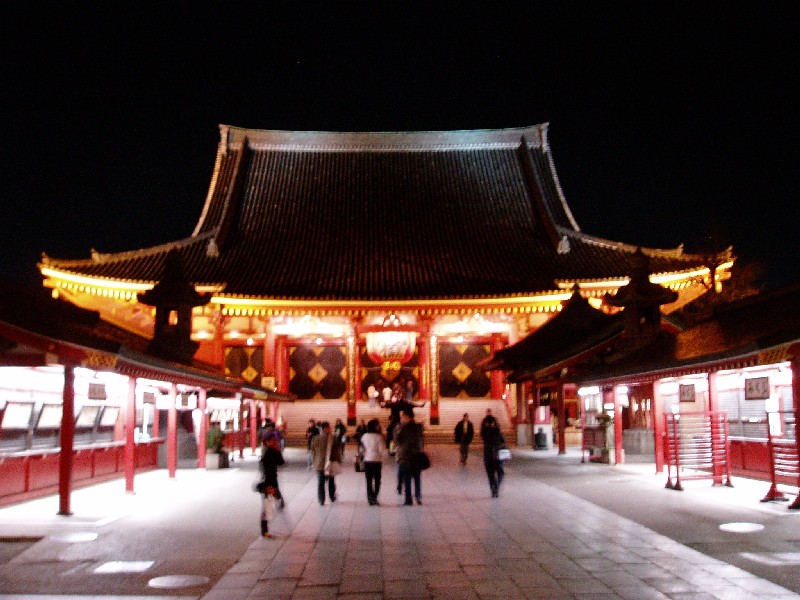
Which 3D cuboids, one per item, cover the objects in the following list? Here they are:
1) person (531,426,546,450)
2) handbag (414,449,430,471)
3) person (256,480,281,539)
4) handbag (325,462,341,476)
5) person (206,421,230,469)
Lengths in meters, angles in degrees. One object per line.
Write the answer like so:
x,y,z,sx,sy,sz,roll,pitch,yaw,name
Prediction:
5.794,5.644,26.620,0.552,0.891,0.348,-5,-14,10,person
0.542,3.326,13.527,0.334,0.365,0.413,-11,-16,32,handbag
-2.317,3.591,11.327,0.333,0.893,1.654,1,-14,-11,person
-1.390,3.523,13.607,0.276,0.228,0.328,1,-12,8,handbag
-6.000,4.787,20.827,0.888,1.363,0.912,3,-9,-44,person
